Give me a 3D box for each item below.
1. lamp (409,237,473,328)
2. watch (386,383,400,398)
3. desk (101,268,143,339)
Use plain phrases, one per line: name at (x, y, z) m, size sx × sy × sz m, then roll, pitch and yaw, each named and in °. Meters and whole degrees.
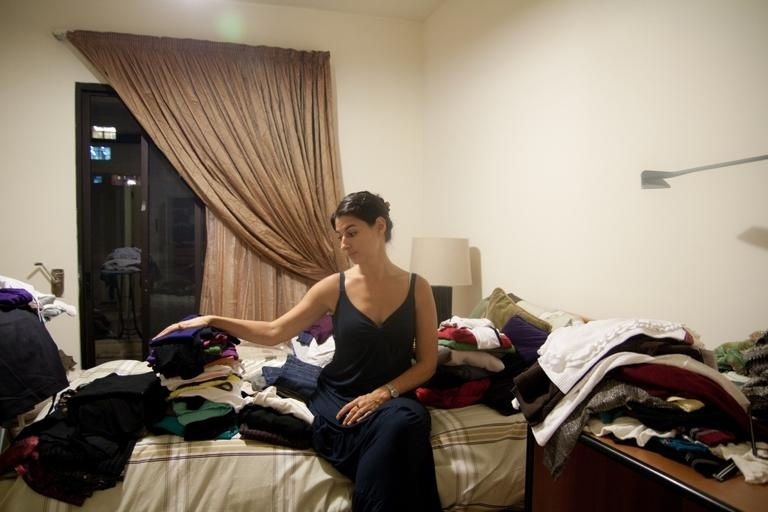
lamp at (0.449, 0.183, 4.038) m, size 0.587 × 0.914 × 0.610 m, roll 0°, pitch 3°, yaw 6°
watch at (0.044, 0.710, 2.701) m, size 0.042 × 0.069 × 0.069 m, roll -31°, pitch 4°, yaw -28°
desk at (-2.336, 0.425, 4.664) m, size 0.365 × 0.635 × 0.362 m, roll -3°, pitch 0°, yaw -28°
